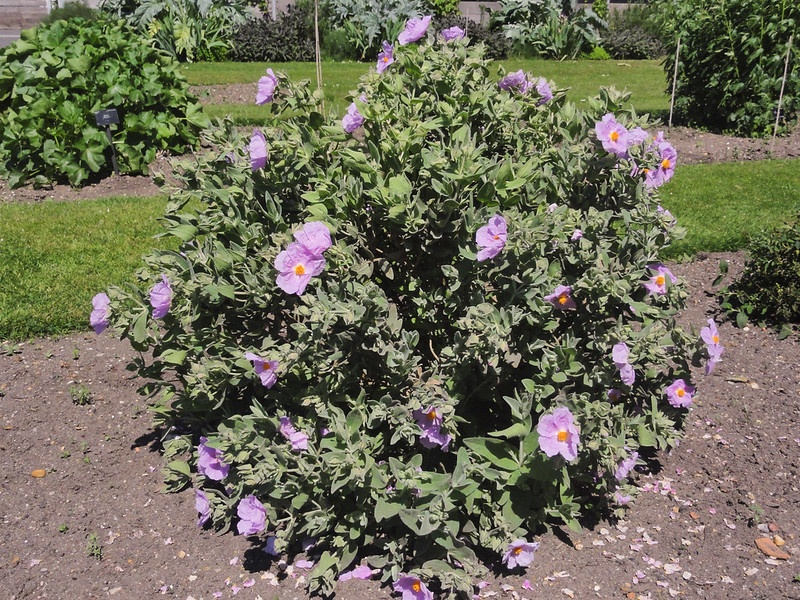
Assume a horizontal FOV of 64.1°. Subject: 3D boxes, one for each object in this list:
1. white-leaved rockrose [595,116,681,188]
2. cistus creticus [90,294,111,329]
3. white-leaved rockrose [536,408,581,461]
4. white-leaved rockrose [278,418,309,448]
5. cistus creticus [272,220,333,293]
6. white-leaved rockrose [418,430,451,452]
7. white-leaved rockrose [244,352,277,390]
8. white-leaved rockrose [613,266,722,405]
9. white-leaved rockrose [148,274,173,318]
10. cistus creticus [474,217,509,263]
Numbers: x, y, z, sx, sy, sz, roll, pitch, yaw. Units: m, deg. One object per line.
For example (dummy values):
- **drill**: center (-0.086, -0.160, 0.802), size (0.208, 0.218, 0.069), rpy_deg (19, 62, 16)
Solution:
- **white-leaved rockrose**: center (1.432, -0.913, 3.962), size (0.713, 0.513, 0.278), rpy_deg (-19, 29, -38)
- **cistus creticus**: center (-1.810, 0.068, 3.845), size (0.079, 0.193, 0.172), rpy_deg (-7, -10, 37)
- **white-leaved rockrose**: center (0.856, 0.711, 3.445), size (0.248, 0.259, 0.103), rpy_deg (-36, -9, 15)
- **white-leaved rockrose**: center (-0.603, 0.775, 3.671), size (0.084, 0.157, 0.260), rpy_deg (-19, 30, -38)
- **cistus creticus**: center (-0.502, -0.228, 3.389), size (0.296, 0.353, 0.165), rpy_deg (-15, 27, -32)
- **white-leaved rockrose**: center (0.206, 0.783, 3.549), size (0.144, 0.065, 0.153), rpy_deg (0, -14, 40)
- **white-leaved rockrose**: center (-0.735, 0.362, 3.556), size (0.178, 0.202, 0.081), rpy_deg (-9, 25, 44)
- **white-leaved rockrose**: center (1.758, 0.274, 4.226), size (0.651, 0.867, 0.662), rpy_deg (-8, 23, -26)
- **white-leaved rockrose**: center (-1.382, -0.015, 3.668), size (0.096, 0.216, 0.193), rpy_deg (2, -28, -42)
- **cistus creticus**: center (0.510, -0.334, 3.530), size (0.182, 0.292, 0.184), rpy_deg (1, 23, 2)
